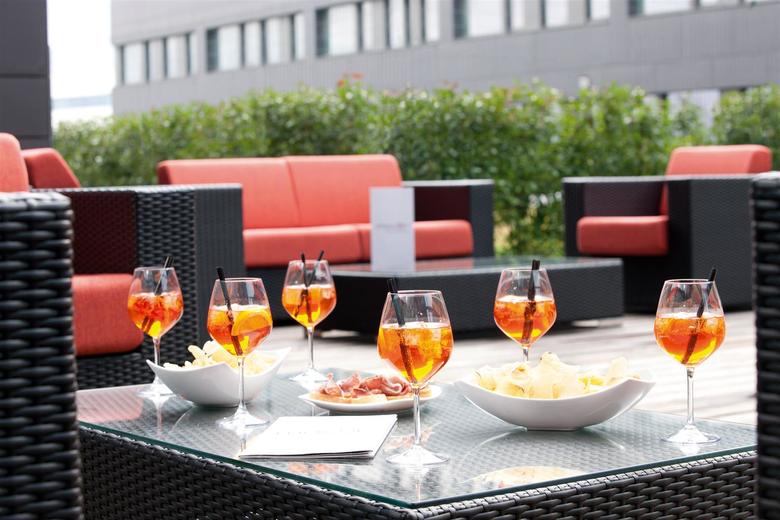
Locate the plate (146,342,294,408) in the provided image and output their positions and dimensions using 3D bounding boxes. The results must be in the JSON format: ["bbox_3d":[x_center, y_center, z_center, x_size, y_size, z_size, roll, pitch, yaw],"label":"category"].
[{"bbox_3d":[-0.352,0.248,1.624,0.172,0.078,0.199,-2,0,12],"label":"plate"}]

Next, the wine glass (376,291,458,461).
[{"bbox_3d":[0.048,0.197,1.244,0.116,0.291,0.104,-4,10,-20],"label":"wine glass"}]
